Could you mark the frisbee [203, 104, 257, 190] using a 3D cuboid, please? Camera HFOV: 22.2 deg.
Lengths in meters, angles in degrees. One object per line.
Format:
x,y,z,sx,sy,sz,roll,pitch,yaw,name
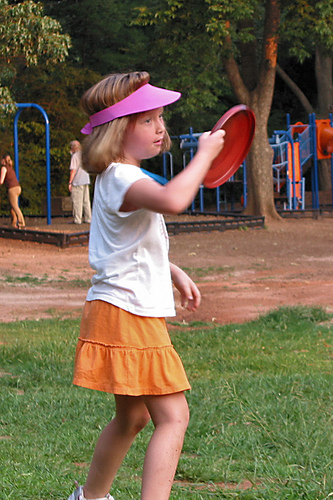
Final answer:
0.302,-0.445,3.510,0.055,0.318,0.263,25,34,19,frisbee
